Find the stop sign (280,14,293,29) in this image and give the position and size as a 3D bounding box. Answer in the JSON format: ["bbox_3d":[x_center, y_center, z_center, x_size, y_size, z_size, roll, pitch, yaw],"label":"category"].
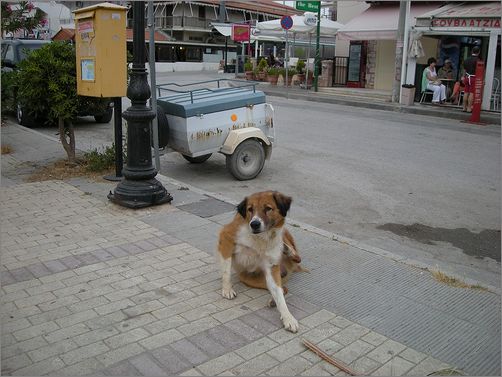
[{"bbox_3d":[2.307,-11.006,24.145,0.657,0.919,1.359,0,15,4],"label":"stop sign"}]

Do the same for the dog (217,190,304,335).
[{"bbox_3d":[0.073,0.715,4.071,0.894,1.321,0.993,6,16,-5],"label":"dog"}]

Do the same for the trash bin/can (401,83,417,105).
[{"bbox_3d":[8.285,-5.013,19.514,0.657,1.036,0.644,5,15,20],"label":"trash bin/can"}]

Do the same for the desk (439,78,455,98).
[{"bbox_3d":[10.321,-5.383,19.550,0.750,0.879,0.839,22,37,37],"label":"desk"}]
